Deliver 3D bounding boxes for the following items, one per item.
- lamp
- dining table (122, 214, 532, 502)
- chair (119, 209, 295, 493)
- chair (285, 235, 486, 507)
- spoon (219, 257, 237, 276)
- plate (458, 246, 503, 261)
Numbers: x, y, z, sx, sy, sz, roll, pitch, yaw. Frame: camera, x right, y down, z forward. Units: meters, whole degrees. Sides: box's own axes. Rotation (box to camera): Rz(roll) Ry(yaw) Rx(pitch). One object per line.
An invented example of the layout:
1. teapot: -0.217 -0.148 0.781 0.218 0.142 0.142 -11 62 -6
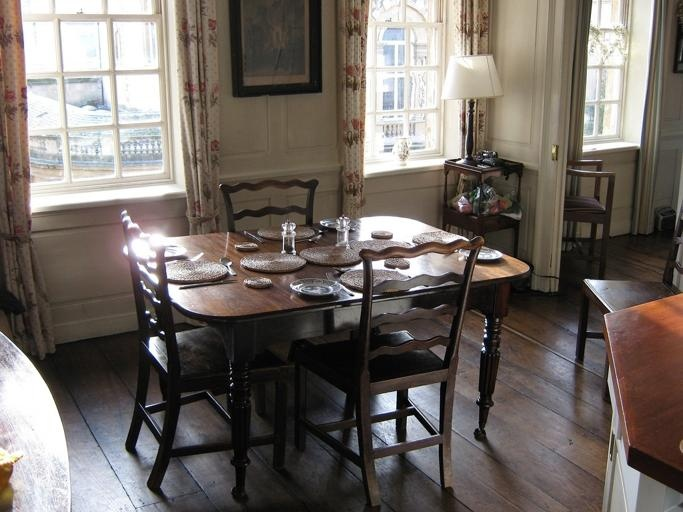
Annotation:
1. lamp: 1.055 -1.220 4.694 0.465 0.840 0.358 -7 18 -9
2. dining table: -0.319 0.321 2.942 1.293 1.136 1.578 -5 13 -26
3. chair: -0.649 0.419 2.717 0.689 1.176 0.675 -10 19 -39
4. chair: 0.192 0.557 2.698 0.736 1.396 0.796 -9 24 -25
5. spoon: -0.554 0.037 2.786 0.044 0.034 0.223 -11 18 -12
6. plate: 0.724 -0.007 2.936 0.122 0.019 0.124 13 22 37
